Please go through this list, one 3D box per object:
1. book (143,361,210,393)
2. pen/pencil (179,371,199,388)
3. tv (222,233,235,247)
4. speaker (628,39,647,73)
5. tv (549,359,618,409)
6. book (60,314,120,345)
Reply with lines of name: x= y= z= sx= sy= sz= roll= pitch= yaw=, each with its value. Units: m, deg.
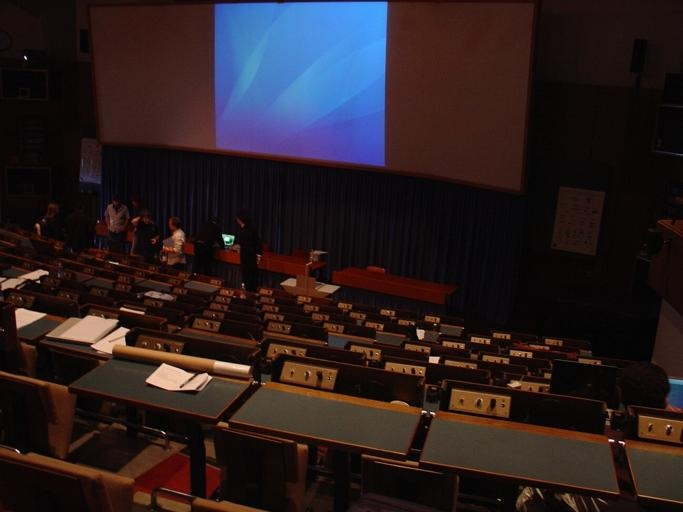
book: x=-1.012 y=0.762 z=3.258 sx=0.367 sy=0.081 sz=0.231 roll=7 pitch=6 yaw=13
pen/pencil: x=-0.958 y=0.767 z=3.256 sx=0.026 sy=0.020 sz=0.118 roll=12 pitch=36 yaw=28
tv: x=-2.477 y=-0.339 z=11.537 sx=0.302 sy=0.258 sz=0.306 roll=8 pitch=2 yaw=-1
speaker: x=4.861 y=-3.250 z=8.519 sx=0.218 sy=0.579 sz=0.335 roll=7 pitch=7 yaw=30
tv: x=1.987 y=0.952 z=4.280 sx=0.485 sy=0.370 sz=0.362 roll=3 pitch=-9 yaw=28
book: x=-1.983 y=0.586 z=4.116 sx=0.199 sy=0.054 sz=0.213 roll=8 pitch=23 yaw=17
